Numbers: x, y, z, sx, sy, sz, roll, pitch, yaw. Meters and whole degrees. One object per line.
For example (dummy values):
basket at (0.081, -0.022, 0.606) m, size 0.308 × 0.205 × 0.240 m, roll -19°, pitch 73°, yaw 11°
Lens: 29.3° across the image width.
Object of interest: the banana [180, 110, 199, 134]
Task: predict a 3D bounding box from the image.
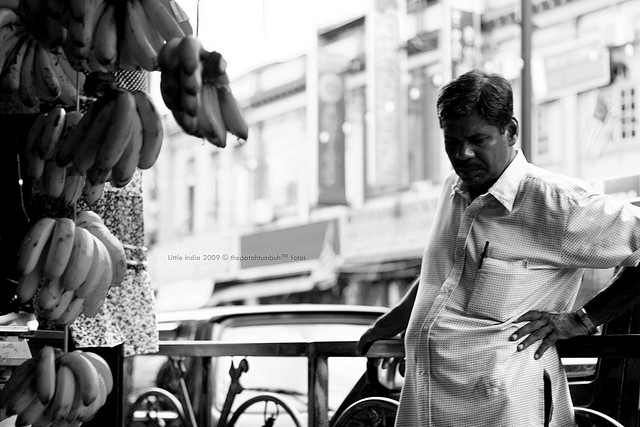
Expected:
banana at (-0.734, -0.514, 6.905) m, size 0.082 × 0.105 × 0.101 m, roll -3°, pitch 2°, yaw -3°

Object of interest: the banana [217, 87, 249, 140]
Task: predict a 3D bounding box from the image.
banana at (-0.503, -0.575, 7.071) m, size 0.110 × 0.347 × 0.117 m, roll -25°, pitch 4°, yaw 22°

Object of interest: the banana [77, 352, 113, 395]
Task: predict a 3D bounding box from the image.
banana at (-1.315, 0.930, 7.387) m, size 0.227 × 0.122 × 0.219 m, roll 54°, pitch 1°, yaw -29°

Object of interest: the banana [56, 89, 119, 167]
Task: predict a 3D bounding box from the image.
banana at (-1.351, -0.486, 7.170) m, size 0.104 × 0.510 × 0.144 m, roll 40°, pitch 2°, yaw 31°

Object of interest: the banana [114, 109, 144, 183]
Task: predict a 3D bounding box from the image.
banana at (-1.094, -0.374, 7.159) m, size 0.122 × 0.453 × 0.151 m, roll 12°, pitch 7°, yaw 34°

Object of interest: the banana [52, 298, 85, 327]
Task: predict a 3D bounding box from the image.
banana at (-1.498, 0.579, 7.280) m, size 0.127 × 0.197 × 0.065 m, roll 8°, pitch -38°, yaw 53°

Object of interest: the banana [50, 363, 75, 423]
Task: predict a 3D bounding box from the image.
banana at (-1.497, 1.067, 7.254) m, size 0.096 × 0.365 × 0.130 m, roll 9°, pitch -13°, yaw -18°

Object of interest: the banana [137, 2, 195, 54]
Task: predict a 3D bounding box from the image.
banana at (-0.908, -1.071, 7.099) m, size 0.483 × 0.099 × 0.166 m, roll 39°, pitch 16°, yaw 10°

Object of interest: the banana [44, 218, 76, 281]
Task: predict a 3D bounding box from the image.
banana at (-1.546, 0.218, 7.194) m, size 0.144 × 0.127 × 0.406 m, roll 0°, pitch -50°, yaw -36°

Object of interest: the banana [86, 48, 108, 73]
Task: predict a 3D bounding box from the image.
banana at (-1.329, -0.901, 7.208) m, size 0.103 × 0.116 × 0.132 m, roll -3°, pitch -52°, yaw 13°

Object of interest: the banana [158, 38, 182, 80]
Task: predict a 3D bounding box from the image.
banana at (-0.845, -0.870, 6.950) m, size 0.157 × 0.192 × 0.082 m, roll 0°, pitch -2°, yaw 14°

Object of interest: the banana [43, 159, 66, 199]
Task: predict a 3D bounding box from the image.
banana at (-1.580, -0.209, 7.292) m, size 0.114 × 0.201 × 0.135 m, roll 10°, pitch -18°, yaw -26°

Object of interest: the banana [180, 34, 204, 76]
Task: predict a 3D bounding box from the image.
banana at (-0.709, -0.908, 6.910) m, size 0.074 × 0.192 × 0.147 m, roll 2°, pitch -15°, yaw 23°

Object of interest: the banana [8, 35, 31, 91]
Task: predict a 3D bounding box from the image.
banana at (-1.808, -0.925, 7.449) m, size 0.083 × 0.353 × 0.117 m, roll 13°, pitch -24°, yaw -29°

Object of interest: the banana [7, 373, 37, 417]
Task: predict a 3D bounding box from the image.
banana at (-1.734, 1.086, 7.231) m, size 0.081 × 0.299 × 0.100 m, roll 32°, pitch -16°, yaw 17°

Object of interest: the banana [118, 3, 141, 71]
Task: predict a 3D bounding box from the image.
banana at (-1.121, -1.018, 7.147) m, size 0.141 × 0.390 × 0.103 m, roll 7°, pitch -1°, yaw -29°

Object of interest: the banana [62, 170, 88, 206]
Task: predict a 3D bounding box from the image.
banana at (-1.457, -0.164, 7.287) m, size 0.047 × 0.202 × 0.071 m, roll 26°, pitch 12°, yaw 2°

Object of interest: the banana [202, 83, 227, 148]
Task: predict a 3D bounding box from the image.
banana at (-0.591, -0.570, 7.010) m, size 0.064 × 0.343 × 0.196 m, roll -11°, pitch -20°, yaw 37°

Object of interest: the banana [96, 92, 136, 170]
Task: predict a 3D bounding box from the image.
banana at (-1.178, -0.480, 7.098) m, size 0.210 × 0.448 × 0.092 m, roll -7°, pitch -18°, yaw 28°

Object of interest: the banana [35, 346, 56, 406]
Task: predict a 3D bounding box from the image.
banana at (-1.602, 0.943, 7.182) m, size 0.097 × 0.348 × 0.114 m, roll -12°, pitch -23°, yaw 14°

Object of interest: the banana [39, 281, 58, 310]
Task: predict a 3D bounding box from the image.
banana at (-1.594, 0.479, 7.175) m, size 0.084 × 0.155 × 0.053 m, roll 3°, pitch -13°, yaw 2°

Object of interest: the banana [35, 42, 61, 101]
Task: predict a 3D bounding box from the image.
banana at (-1.662, -0.835, 7.445) m, size 0.104 × 0.383 × 0.124 m, roll -18°, pitch -7°, yaw 17°

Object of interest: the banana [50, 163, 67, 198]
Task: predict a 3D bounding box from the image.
banana at (-1.569, -0.217, 7.288) m, size 0.065 × 0.229 × 0.058 m, roll 0°, pitch 0°, yaw -6°

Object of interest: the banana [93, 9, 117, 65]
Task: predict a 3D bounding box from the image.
banana at (-1.235, -1.028, 7.046) m, size 0.093 × 0.339 × 0.120 m, roll -1°, pitch -11°, yaw -14°
